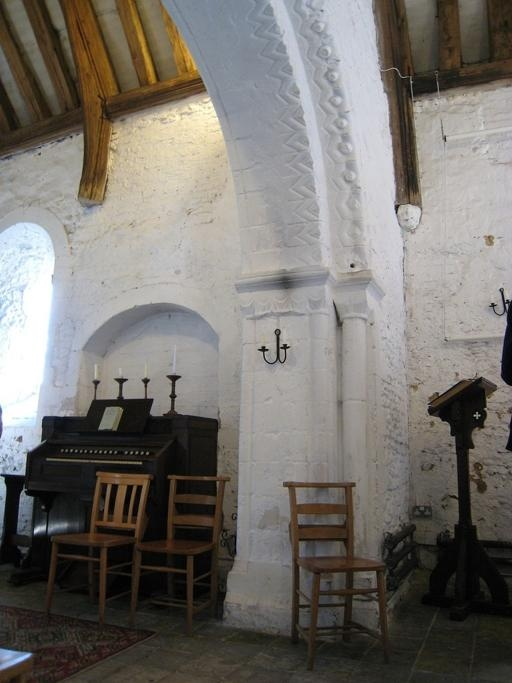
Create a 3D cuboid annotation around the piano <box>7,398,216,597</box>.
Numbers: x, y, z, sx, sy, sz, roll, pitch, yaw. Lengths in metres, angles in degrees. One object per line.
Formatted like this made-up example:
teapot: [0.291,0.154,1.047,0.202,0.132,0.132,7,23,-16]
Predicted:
piano: [-1.007,1.026,4.142,1.263,1.135,0.661,-4,-12,19]
